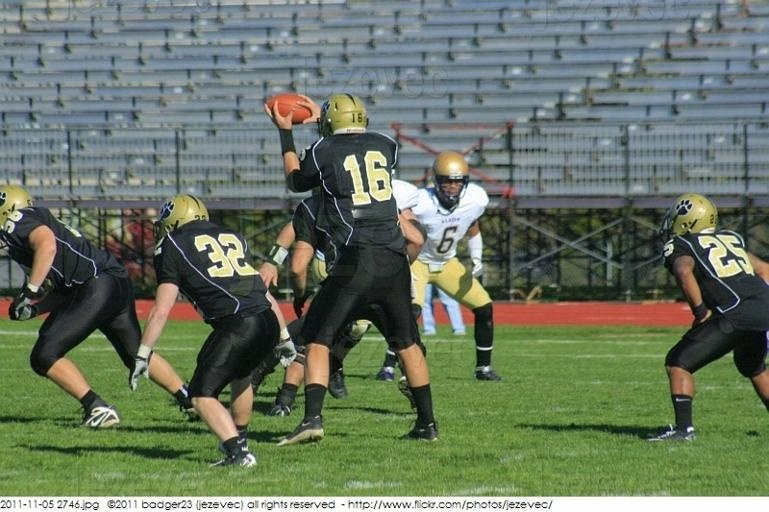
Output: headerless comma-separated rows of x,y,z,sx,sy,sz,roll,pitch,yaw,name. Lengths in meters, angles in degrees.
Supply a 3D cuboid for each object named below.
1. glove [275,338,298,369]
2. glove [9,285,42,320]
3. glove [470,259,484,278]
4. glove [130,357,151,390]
-1.611,1.482,23.865,0.194,0.305,0.477,-7,8,-40,glove
-5.719,0.822,24.478,0.275,0.636,0.481,36,13,-37,glove
1.632,0.225,27.171,0.237,0.249,0.285,0,-9,4,glove
-3.770,1.777,23.356,0.293,0.500,0.326,-2,6,-11,glove
